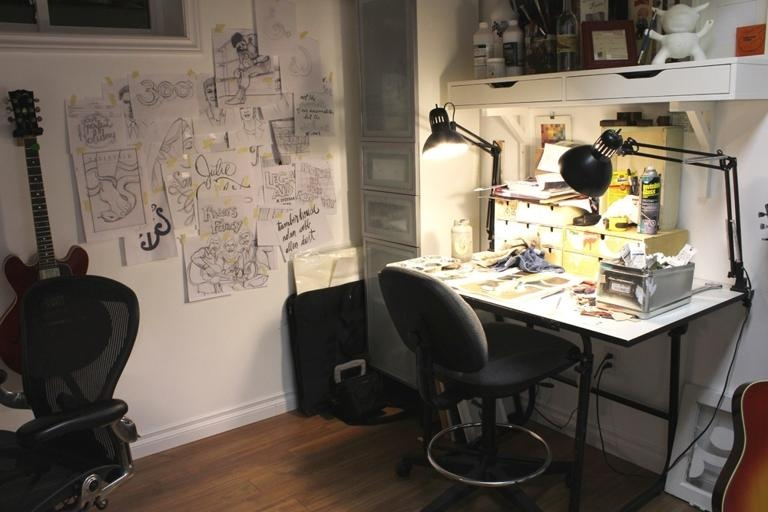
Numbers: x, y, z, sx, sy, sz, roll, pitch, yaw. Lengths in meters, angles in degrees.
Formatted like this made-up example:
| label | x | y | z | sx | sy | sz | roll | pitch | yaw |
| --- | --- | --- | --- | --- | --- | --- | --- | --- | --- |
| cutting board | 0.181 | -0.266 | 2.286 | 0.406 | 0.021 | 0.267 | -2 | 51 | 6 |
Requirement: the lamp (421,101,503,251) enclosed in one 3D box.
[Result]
| label | x | y | z | sx | sy | sz | roll | pitch | yaw |
| --- | --- | --- | --- | --- | --- | --- | --- | --- | --- |
| lamp | 0.473 | -0.455 | 3.297 | 0.363 | 0.897 | 0.662 | 5 | 18 | 35 |

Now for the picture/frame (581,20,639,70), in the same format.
| label | x | y | z | sx | sy | sz | roll | pitch | yaw |
| --- | --- | --- | --- | --- | --- | --- | --- | --- | --- |
| picture/frame | 1.107 | -1.045 | 2.747 | 0.271 | 0.255 | 0.071 | -2 | -2 | 6 |

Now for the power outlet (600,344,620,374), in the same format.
| label | x | y | z | sx | sy | sz | roll | pitch | yaw |
| --- | --- | --- | --- | --- | --- | --- | --- | --- | --- |
| power outlet | 1.233 | 0.572 | 3.063 | 0.030 | 0.124 | 0.071 | 7 | 8 | -39 |

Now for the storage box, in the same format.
| label | x | y | z | sx | sy | sz | roll | pitch | yaw |
| --- | --- | --- | --- | --- | --- | --- | --- | --- | --- |
| storage box | 1.180 | 0.159 | 2.567 | 0.371 | 0.190 | 0.254 | -14 | 22 | -35 |
